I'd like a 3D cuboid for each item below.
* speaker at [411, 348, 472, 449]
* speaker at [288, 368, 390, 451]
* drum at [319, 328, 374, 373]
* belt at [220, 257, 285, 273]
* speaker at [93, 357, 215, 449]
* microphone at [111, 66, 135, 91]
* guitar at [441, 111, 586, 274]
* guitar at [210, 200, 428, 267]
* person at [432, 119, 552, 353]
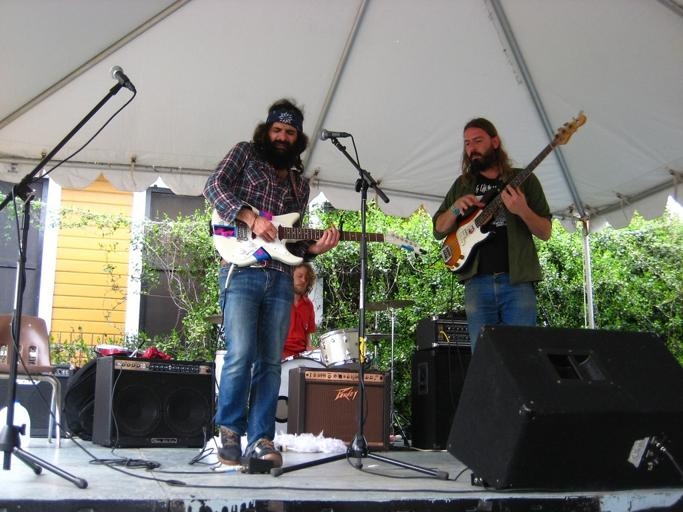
[{"bbox_3d":[0.773,1.197,5.156,0.452,0.864,0.502,2,2,-7],"label":"speaker"},{"bbox_3d":[-0.042,1.201,4.754,0.791,0.747,0.341,3,-10,-13],"label":"speaker"},{"bbox_3d":[0.023,0.814,5.463,0.346,0.351,0.329,3,3,-18],"label":"drum"},{"bbox_3d":[-0.496,0.040,3.521,0.381,0.084,0.155,4,-8,-11],"label":"belt"},{"bbox_3d":[-1.429,1.059,4.703,0.964,0.857,0.612,8,-18,-29],"label":"speaker"},{"bbox_3d":[-1.228,-0.981,3.442,0.120,0.138,0.166,6,-9,-23],"label":"microphone"},{"bbox_3d":[1.074,-0.423,4.353,0.740,1.149,0.853,5,5,-31],"label":"guitar"},{"bbox_3d":[-0.427,-0.099,3.963,0.879,0.463,0.906,8,-2,-32],"label":"guitar"},{"bbox_3d":[0.991,-0.104,4.110,0.697,1.578,0.697,2,6,2],"label":"person"}]
